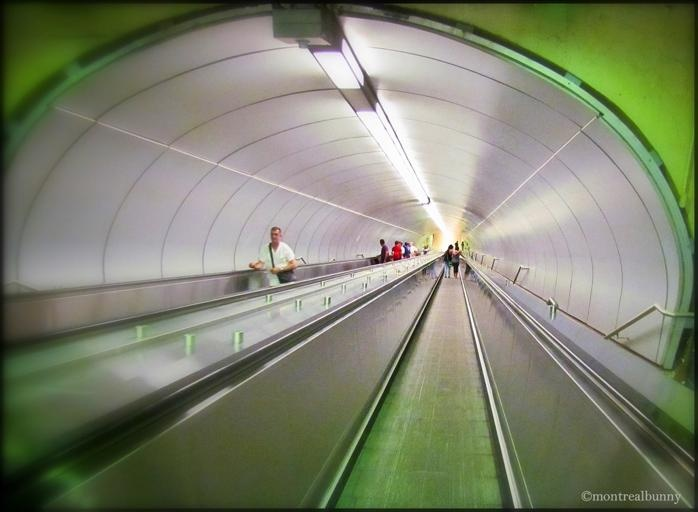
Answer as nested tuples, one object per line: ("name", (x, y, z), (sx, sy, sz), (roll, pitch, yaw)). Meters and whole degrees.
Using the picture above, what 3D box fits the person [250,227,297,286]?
("person", (-1.790, 0.306, 8.922), (1.051, 0.846, 1.835), (-5, -64, -8))

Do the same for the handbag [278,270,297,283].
("handbag", (-1.512, 0.426, 9.376), (0.505, 0.371, 0.298), (7, -61, -6))

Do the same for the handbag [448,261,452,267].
("handbag", (6.852, 0.664, 26.279), (0.319, 0.364, 0.538), (-1, 17, 16))

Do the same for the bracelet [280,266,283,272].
("bracelet", (-1.507, 0.316, 8.634), (0.049, 0.071, 0.069), (9, 3, 32))
